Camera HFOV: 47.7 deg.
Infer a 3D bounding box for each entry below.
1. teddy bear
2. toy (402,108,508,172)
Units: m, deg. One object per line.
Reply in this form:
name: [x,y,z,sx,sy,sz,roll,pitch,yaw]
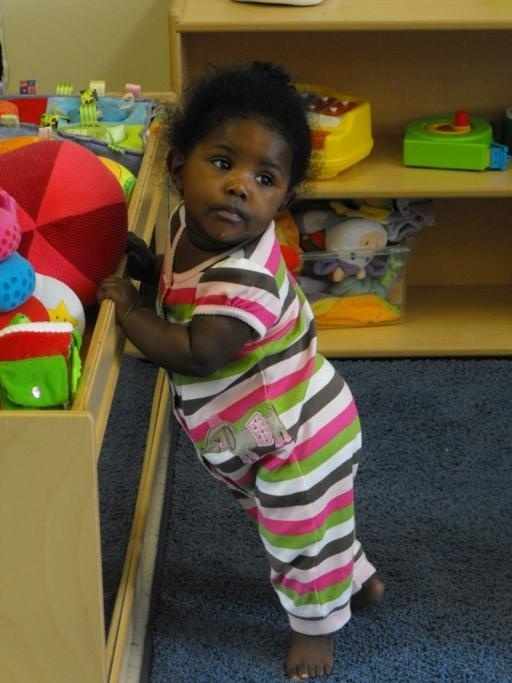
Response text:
teddy bear: [0.257,-0.256,1.578,0.203,0.208,0.222,3,4,-12]
toy: [0.506,-0.510,1.456,0.250,0.129,0.233,0,30,17]
